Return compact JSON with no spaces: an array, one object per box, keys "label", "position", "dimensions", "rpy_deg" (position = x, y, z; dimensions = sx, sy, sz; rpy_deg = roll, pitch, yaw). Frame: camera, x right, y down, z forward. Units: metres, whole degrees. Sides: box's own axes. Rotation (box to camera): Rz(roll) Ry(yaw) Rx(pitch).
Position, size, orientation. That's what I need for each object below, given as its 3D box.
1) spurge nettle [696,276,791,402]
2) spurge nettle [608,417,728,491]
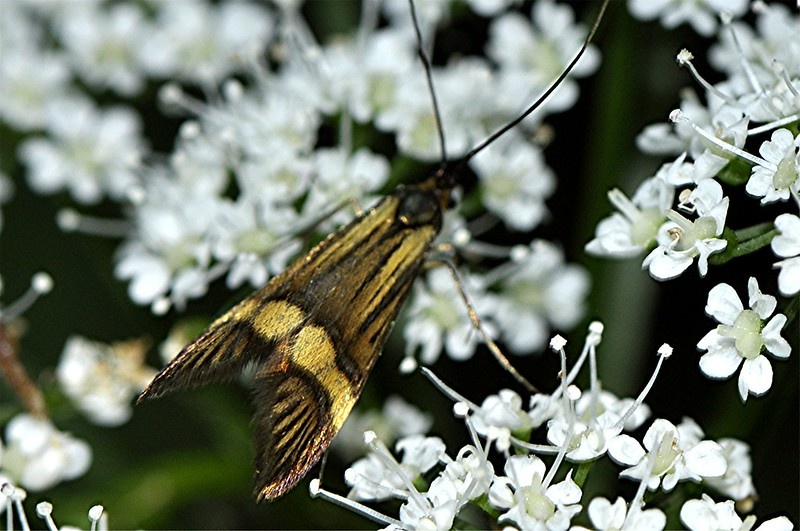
[{"label":"spurge nettle","position":[1.053,0.224,2.774],"dimensions":[0.274,0.378,0.132],"rpy_deg":[1,11,22]},{"label":"spurge nettle","position":[0.840,0.598,2.801],"dimensions":[0.224,0.271,0.127],"rpy_deg":[5,-45,7]}]
